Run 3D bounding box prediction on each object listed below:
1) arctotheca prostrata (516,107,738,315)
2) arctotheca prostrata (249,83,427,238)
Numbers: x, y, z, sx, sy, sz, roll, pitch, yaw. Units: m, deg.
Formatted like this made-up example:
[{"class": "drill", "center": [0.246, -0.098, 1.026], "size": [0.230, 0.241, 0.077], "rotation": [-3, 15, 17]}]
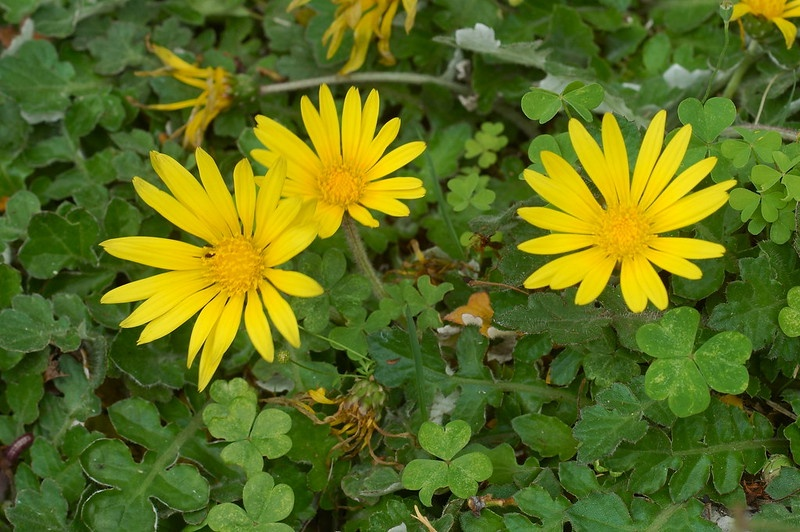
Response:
[{"class": "arctotheca prostrata", "center": [0.766, -0.171, 2.063], "size": [0.710, 0.685, 0.187], "rotation": [0, 48, -9]}, {"class": "arctotheca prostrata", "center": [-0.199, -0.367, 2.152], "size": [0.553, 0.156, 0.554], "rotation": [9, 72, -1]}]
